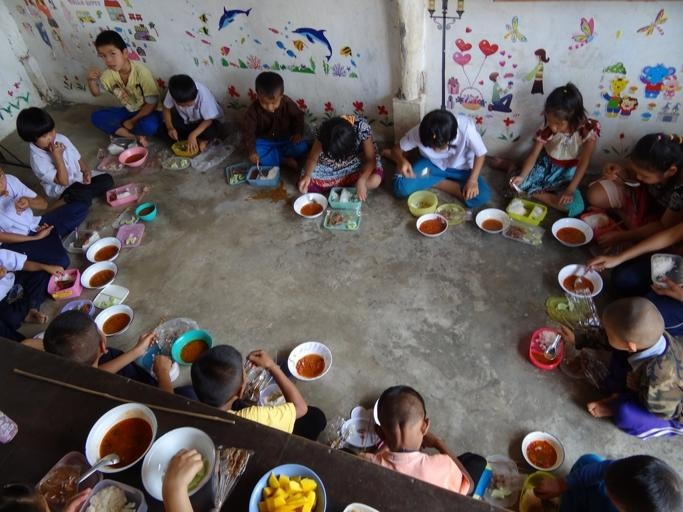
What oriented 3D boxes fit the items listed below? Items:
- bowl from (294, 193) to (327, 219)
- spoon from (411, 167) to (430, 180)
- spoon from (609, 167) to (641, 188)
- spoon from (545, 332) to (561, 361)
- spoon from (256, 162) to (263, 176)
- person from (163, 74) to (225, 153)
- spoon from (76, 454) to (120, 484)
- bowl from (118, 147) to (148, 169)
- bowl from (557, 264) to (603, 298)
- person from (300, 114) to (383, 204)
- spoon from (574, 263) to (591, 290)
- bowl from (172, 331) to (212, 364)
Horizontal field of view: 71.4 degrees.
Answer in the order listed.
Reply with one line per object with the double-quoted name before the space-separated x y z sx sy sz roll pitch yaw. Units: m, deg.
"bowl" -0.338 -0.556 5.279 0.360 0.104 0.310 -29 54 -21
"spoon" 0.881 -0.921 5.206 0.121 0.035 0.138 -40 29 24
"spoon" 2.711 -0.745 4.518 0.110 0.101 0.393 -31 38 4
"spoon" 1.787 0.770 4.016 0.099 0.132 0.281 -9 32 44
"spoon" -0.982 -1.054 5.728 0.040 0.148 0.170 4 81 16
"person" -1.877 -1.831 6.087 0.556 0.723 0.668 32 67 -2
"spoon" -1.443 1.273 2.773 0.099 0.410 0.063 50 29 -1
"bowl" -2.722 -1.275 6.162 0.384 0.125 0.398 -1 49 1
"bowl" 2.171 0.225 4.316 0.297 0.083 0.315 -6 52 7
"person" -0.017 -1.088 5.186 0.929 0.962 0.686 -3 48 0
"spoon" 2.180 0.181 4.340 0.033 0.221 0.138 8 29 -34
"bowl" -1.292 0.803 4.165 0.364 0.095 0.387 3 28 -1
